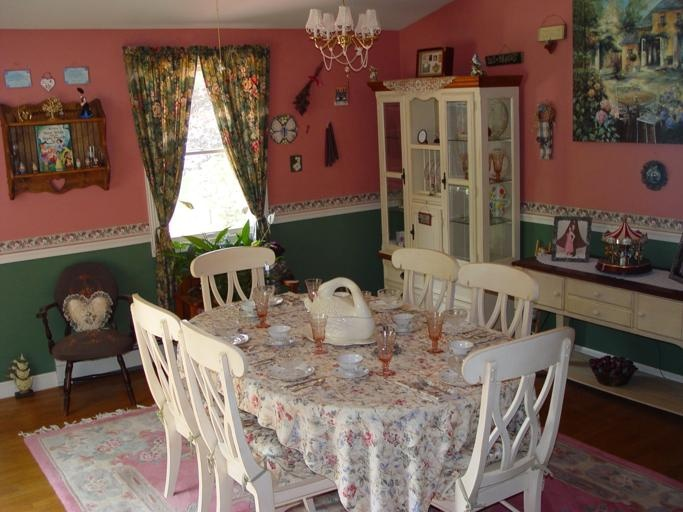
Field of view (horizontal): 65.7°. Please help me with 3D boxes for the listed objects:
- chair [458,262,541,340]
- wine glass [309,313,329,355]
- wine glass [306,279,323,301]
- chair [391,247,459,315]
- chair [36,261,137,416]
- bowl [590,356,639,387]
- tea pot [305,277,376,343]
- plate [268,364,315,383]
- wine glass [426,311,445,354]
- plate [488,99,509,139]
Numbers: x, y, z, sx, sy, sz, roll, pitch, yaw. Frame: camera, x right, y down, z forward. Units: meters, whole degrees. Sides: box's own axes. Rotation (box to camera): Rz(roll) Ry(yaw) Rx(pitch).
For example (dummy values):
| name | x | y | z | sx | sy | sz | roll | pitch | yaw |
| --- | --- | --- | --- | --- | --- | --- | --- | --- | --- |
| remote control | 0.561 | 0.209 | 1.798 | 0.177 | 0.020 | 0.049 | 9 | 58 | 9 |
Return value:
| name | x | y | z | sx | sy | sz | roll | pitch | yaw |
| --- | --- | --- | --- | --- | --- | --- | --- | --- | --- |
| chair | 0.997 | 0.274 | 3.306 | 0.410 | 0.677 | 0.395 | 11 | 15 | 43 |
| wine glass | -0.107 | 0.386 | 2.658 | 0.107 | 0.204 | 0.123 | 1 | 6 | 28 |
| wine glass | -0.164 | 0.194 | 3.177 | 0.103 | 0.138 | 0.107 | 1 | 12 | -2 |
| chair | 0.600 | 0.172 | 3.724 | 0.416 | 0.669 | 0.366 | 8 | 13 | 39 |
| chair | -2.017 | 0.664 | 4.318 | 0.676 | 1.084 | 0.729 | -3 | 11 | -23 |
| bowl | 2.032 | 0.821 | 4.015 | 0.228 | 0.119 | 0.232 | 0 | 14 | 0 |
| tea pot | -0.029 | 0.276 | 2.781 | 0.356 | 0.372 | 0.254 | 6 | 10 | 16 |
| plate | -0.227 | 0.541 | 2.449 | 0.104 | 0.016 | 0.109 | -6 | 17 | -26 |
| wine glass | 0.465 | 0.372 | 2.631 | 0.089 | 0.203 | 0.096 | -3 | 10 | -1 |
| plate | 1.346 | -1.165 | 4.543 | 0.234 | 0.335 | 0.050 | -12 | 17 | -34 |
